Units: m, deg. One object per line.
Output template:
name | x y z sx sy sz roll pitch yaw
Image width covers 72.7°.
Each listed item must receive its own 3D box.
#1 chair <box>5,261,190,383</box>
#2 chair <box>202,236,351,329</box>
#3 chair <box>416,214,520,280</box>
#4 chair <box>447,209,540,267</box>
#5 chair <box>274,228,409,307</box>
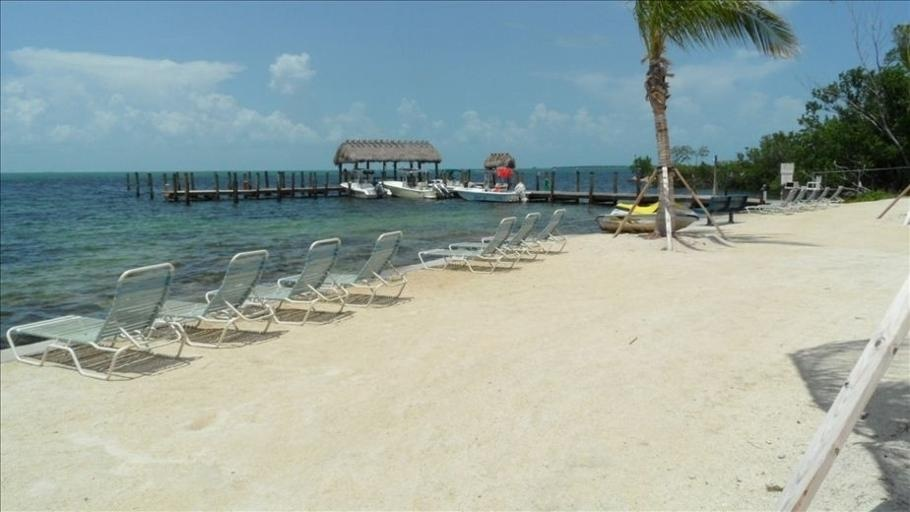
chair | -4.855 0.702 7.628 2.526 1.277 1.277 5 4 17
chair | -2.835 0.267 9.787 2.360 1.260 1.196 4 7 24
chair | 0.100 -0.124 12.805 2.087 0.861 1.196 3 6 23
chair | 0.675 -0.354 12.891 1.841 1.006 1.200 6 9 43
chair | -1.458 0.139 10.444 2.353 1.076 1.257 3 6 23
